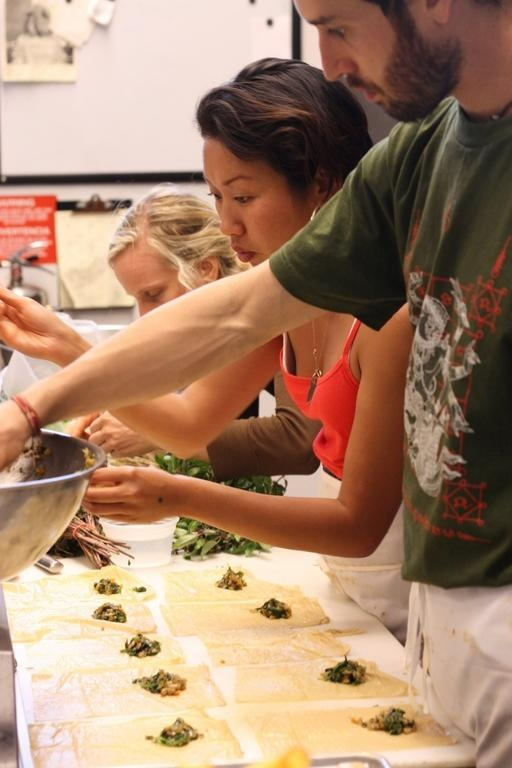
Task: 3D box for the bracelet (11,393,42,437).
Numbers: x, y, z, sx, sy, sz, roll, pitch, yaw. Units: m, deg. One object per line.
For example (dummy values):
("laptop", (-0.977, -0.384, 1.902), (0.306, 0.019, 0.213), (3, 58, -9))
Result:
("bracelet", (-0.230, 0.032, 0.684), (0.015, 0.037, 0.034), (-35, 20, -31))
